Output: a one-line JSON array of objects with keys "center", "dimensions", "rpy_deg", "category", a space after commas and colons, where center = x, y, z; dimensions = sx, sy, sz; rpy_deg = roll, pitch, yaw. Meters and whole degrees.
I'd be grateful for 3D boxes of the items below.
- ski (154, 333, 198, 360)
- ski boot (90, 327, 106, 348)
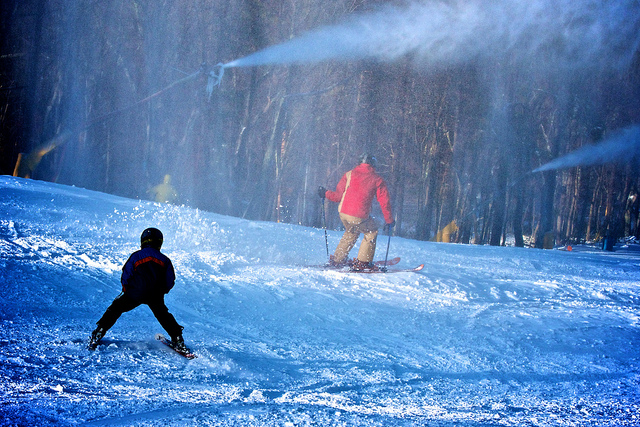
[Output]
[{"center": [-2.739, 2.527, 11.080], "dimensions": [0.495, 0.225, 0.154], "rpy_deg": [33, 22, 5], "category": "ski"}, {"center": [-4.123, 2.302, 10.946], "dimensions": [0.191, 0.375, 0.170], "rpy_deg": [3, -13, 31], "category": "ski boot"}]
